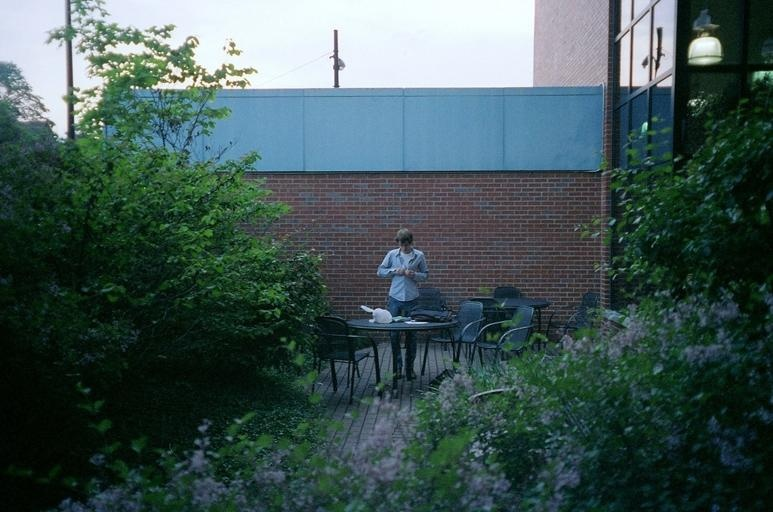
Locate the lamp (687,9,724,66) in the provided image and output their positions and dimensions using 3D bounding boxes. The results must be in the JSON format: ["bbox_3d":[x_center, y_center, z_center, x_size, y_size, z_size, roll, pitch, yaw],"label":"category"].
[{"bbox_3d":[3.413,-2.334,8.095,0.355,0.600,0.115,0,4,20],"label":"lamp"}]

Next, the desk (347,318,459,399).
[{"bbox_3d":[0.159,1.116,8.385,0.948,0.561,0.915,-1,-5,1],"label":"desk"}]
